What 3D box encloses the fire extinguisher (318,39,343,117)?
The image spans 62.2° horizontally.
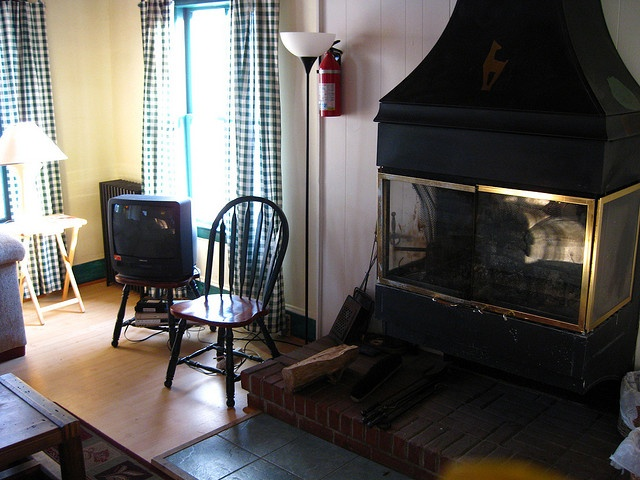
[{"bbox_3d":[0.074,-1.014,3.402,0.185,0.414,0.102,-8,16,-13],"label":"fire extinguisher"}]

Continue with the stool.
[{"bbox_3d":[-1.257,0.469,4.137,0.660,0.572,0.665,8,14,-1],"label":"stool"}]

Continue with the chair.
[{"bbox_3d":[-0.576,0.241,3.555,0.726,1.436,0.727,17,20,41],"label":"chair"}]

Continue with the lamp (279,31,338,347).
[{"bbox_3d":[-0.065,-0.297,3.525,0.394,1.969,0.366,-5,11,-29],"label":"lamp"}]

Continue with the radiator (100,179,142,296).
[{"bbox_3d":[-1.986,-0.026,5.072,0.229,1.031,0.495,-16,24,-41],"label":"radiator"}]
